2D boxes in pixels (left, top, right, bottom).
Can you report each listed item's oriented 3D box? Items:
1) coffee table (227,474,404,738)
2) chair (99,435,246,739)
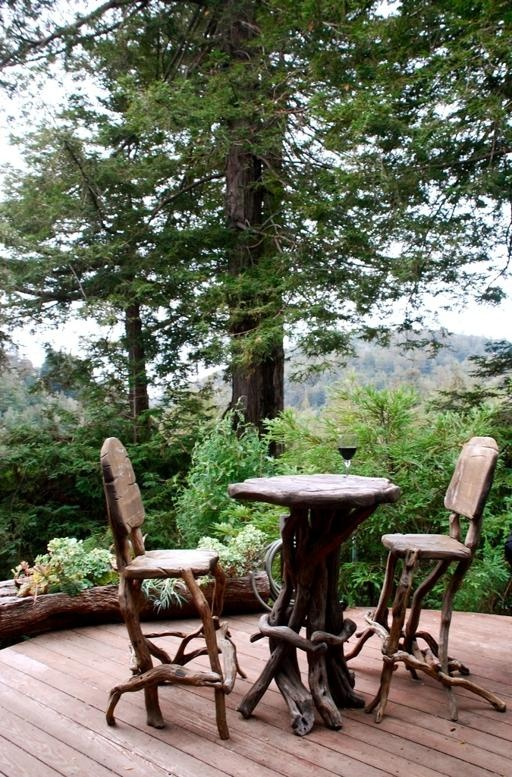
[{"bbox_3d":[0.223,0.743,2.116,0.582,0.845,0.683,-1,-6,9],"label":"coffee table"},{"bbox_3d":[-0.286,0.687,2.222,0.496,0.990,0.693,0,-6,-2],"label":"chair"}]
